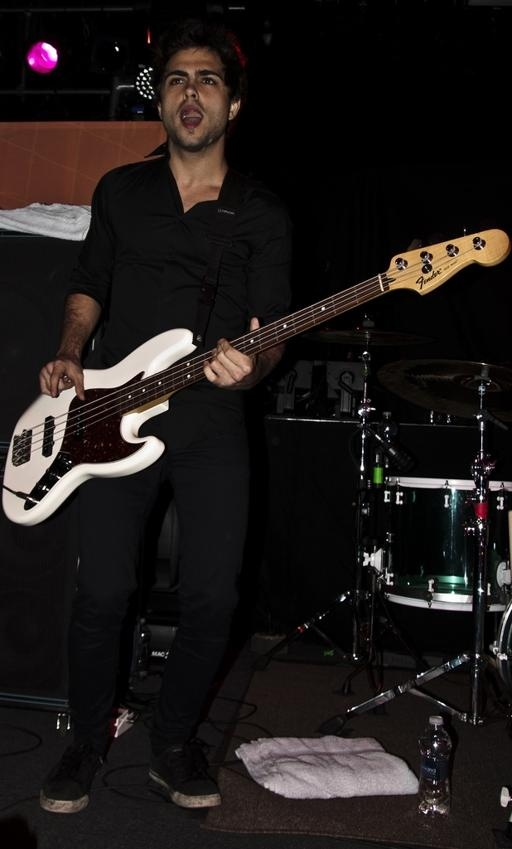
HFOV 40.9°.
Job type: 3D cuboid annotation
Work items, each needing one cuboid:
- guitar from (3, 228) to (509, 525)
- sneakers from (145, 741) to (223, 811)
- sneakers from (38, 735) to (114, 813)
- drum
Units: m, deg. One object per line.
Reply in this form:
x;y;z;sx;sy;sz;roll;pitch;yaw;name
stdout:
0.108;-0.189;2.907;2.594;0.752;0.312;-24;-32;5;guitar
-0.211;1.009;2.015;0.168;0.183;0.212;7;0;-22;sneakers
-0.512;1.004;1.983;0.119;0.201;0.247;7;0;22;sneakers
0.841;0.534;3.301;0.606;0.605;0.605;1;-5;3;drum
